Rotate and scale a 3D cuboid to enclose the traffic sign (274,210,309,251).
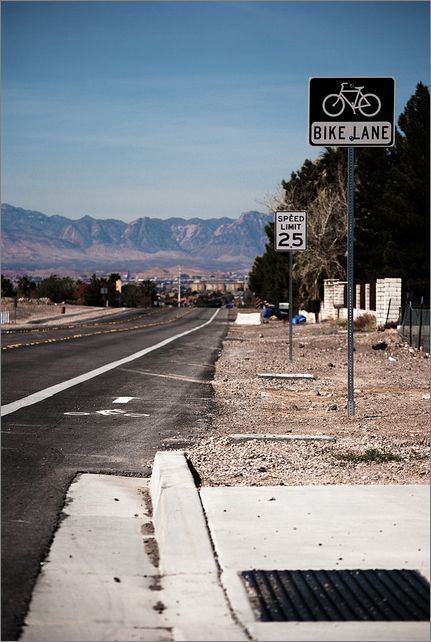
[{"bbox_3d":[1.761,-2.091,18.107,0.789,0.926,0.493,0,1,-5],"label":"traffic sign"}]
